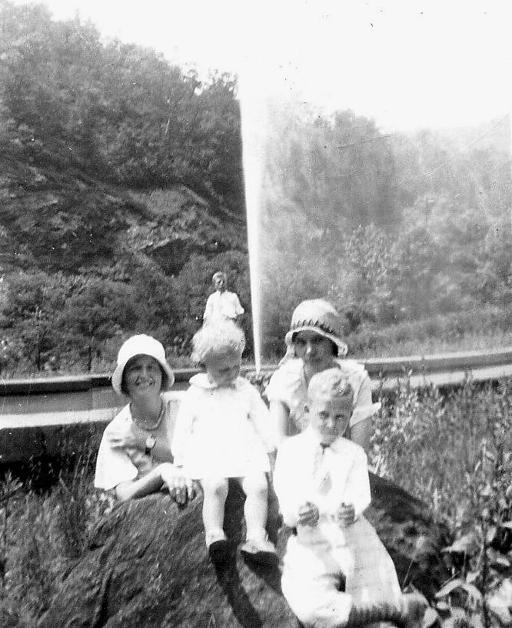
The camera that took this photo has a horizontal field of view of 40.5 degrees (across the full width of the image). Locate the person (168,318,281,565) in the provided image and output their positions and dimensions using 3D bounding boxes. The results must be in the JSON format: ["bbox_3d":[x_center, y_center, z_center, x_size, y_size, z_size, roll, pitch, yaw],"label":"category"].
[{"bbox_3d":[-0.132,0.480,2.712,0.265,1.030,0.403,-1,-34,-3],"label":"person"}]

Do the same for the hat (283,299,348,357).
[{"bbox_3d":[0.248,0.022,2.983,0.187,0.238,0.271,5,-37,-4],"label":"hat"}]
